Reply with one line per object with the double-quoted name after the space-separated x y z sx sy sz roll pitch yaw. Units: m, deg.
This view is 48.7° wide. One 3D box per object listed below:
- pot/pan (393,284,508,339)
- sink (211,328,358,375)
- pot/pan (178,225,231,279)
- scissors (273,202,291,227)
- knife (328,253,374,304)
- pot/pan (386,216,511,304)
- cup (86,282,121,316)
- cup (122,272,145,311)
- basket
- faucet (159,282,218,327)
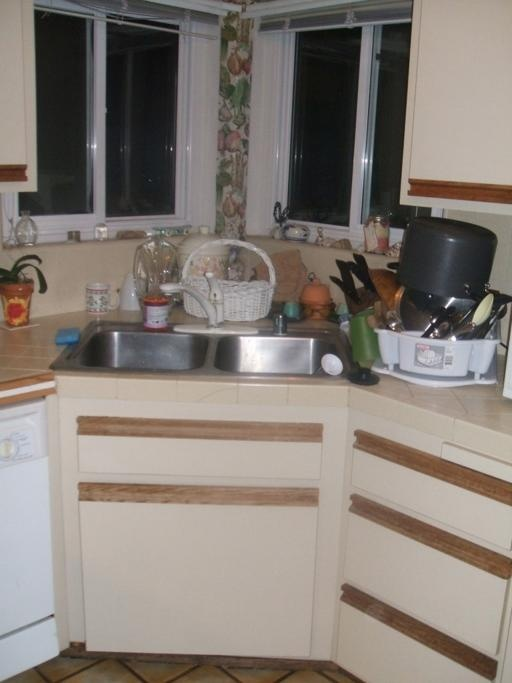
0.494 -0.068 1.467 0.171 0.091 0.212 0 22 3 "pot/pan"
0.091 0.057 1.869 0.448 0.142 0.329 4 16 10 "sink"
-0.203 -0.356 2.193 0.174 0.191 0.180 2 22 -5 "pot/pan"
0.115 -0.622 2.753 0.077 0.114 0.144 2 16 1 "scissors"
0.317 -0.225 1.883 0.128 0.205 0.086 -18 37 21 "knife"
0.473 -0.208 1.412 0.222 0.158 0.223 -26 45 -38 "pot/pan"
-0.576 -0.155 2.146 0.151 0.126 0.096 2 11 -13 "cup"
-0.484 -0.185 2.161 0.079 0.136 0.053 -2 16 -12 "cup"
-0.075 -0.232 2.070 0.361 0.313 0.258 2 13 2 "basket"
-0.223 -0.124 1.887 0.186 0.134 0.059 3 16 7 "faucet"
